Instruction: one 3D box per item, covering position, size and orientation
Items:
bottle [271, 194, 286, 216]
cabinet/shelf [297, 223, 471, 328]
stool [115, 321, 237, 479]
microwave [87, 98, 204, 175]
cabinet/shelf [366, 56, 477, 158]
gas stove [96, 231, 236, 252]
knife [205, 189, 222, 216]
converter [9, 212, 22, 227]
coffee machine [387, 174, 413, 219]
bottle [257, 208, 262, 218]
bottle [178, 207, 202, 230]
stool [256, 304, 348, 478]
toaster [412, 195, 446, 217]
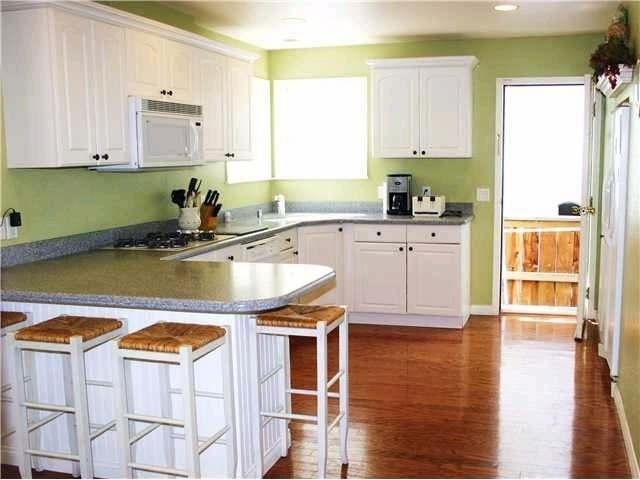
[{"bbox_3d":[-0.505,-0.432,6.289,0.165,0.231,0.499,-1,9,-5],"label":"bottle"},{"bbox_3d":[0.853,0.328,5.859,2.137,1.289,1.107,-1,-1,13],"label":"cabinet/shelf"},{"bbox_3d":[-0.677,0.805,2.510,0.457,0.748,0.428,3,11,21],"label":"stool"},{"bbox_3d":[-1.370,-0.824,4.123,0.593,0.589,0.980,3,6,17],"label":"microwave"},{"bbox_3d":[1.103,-1.434,5.558,1.250,0.947,0.456,1,4,13],"label":"cabinet/shelf"},{"bbox_3d":[-1.205,-0.006,4.212,0.793,0.057,0.823,4,10,23],"label":"gas stove"},{"bbox_3d":[-1.019,-0.350,4.946,0.096,0.295,0.084,3,1,-15],"label":"knife"},{"bbox_3d":[-1.980,-0.136,3.356,0.027,0.075,0.080,2,2,18],"label":"converter"},{"bbox_3d":[0.899,-0.515,5.870,0.281,0.455,0.274,1,10,9],"label":"coffee machine"},{"bbox_3d":[-0.715,-0.312,6.005,0.066,0.097,0.120,1,8,11],"label":"bottle"},{"bbox_3d":[-1.169,-0.192,4.577,0.230,0.189,0.168,4,-7,-33],"label":"bottle"},{"bbox_3d":[-0.073,0.829,3.196,0.489,1.001,1.022,0,10,4],"label":"stool"},{"bbox_3d":[1.189,-0.392,5.668,0.277,0.160,0.266,2,8,13],"label":"toaster"}]
